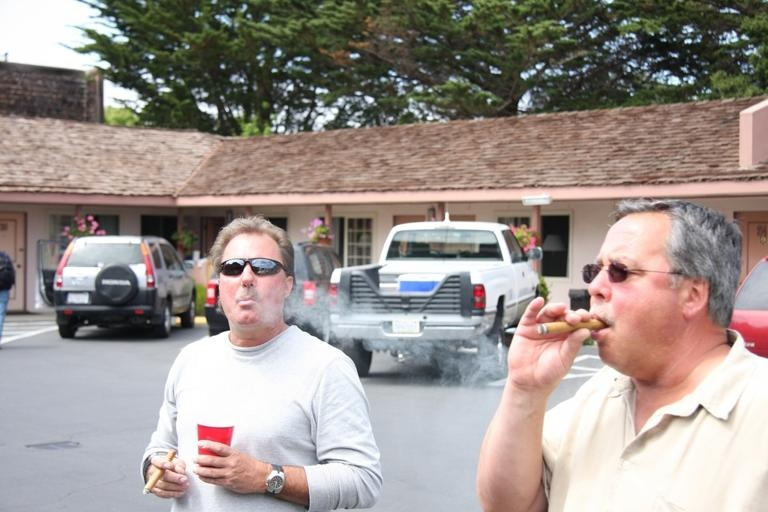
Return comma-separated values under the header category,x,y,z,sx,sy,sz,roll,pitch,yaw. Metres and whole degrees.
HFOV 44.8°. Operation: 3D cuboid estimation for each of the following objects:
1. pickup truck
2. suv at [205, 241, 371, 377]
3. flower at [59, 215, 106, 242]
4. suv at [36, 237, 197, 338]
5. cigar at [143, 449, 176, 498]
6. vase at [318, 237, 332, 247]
category,x,y,z,sx,sy,sz,roll,pitch,yaw
pickup truck,0.988,0.461,15.391,1.867,1.751,3.767,0,6,13
suv,-1.333,0.720,15.787,1.612,1.512,3.227,0,4,9
flower,-7.456,-0.671,22.425,0.795,0.589,0.664,2,8,5
suv,-5.088,0.429,18.615,1.451,1.306,2.951,0,4,3
cigar,-2.015,1.894,8.218,0.103,0.093,0.525,14,51,35
vase,-1.444,-0.350,22.459,0.274,0.217,0.273,0,-1,-35
